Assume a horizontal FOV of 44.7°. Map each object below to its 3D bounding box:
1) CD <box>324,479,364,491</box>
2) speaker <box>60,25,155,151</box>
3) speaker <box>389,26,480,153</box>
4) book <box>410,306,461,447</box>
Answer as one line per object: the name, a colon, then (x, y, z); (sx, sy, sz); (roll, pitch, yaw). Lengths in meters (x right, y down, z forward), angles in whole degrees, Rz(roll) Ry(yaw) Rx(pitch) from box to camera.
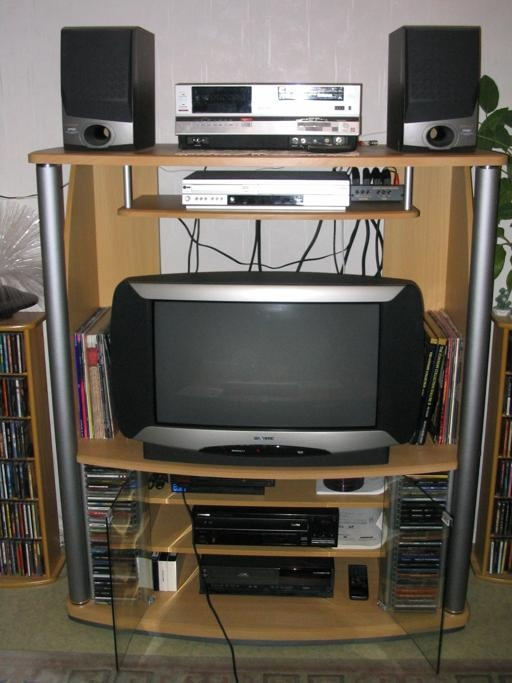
CD: (0.267, 0.431, 1.865); (0.062, 0.014, 0.060); (0, 10, -1)
speaker: (-0.368, -0.631, 1.568); (0.222, 0.295, 0.278); (-2, 15, -7)
speaker: (0.430, -0.612, 1.521); (0.212, 0.287, 0.263); (2, 15, 10)
book: (0.523, 0.124, 1.795); (0.099, 0.292, 0.222); (-1, 10, 2)
